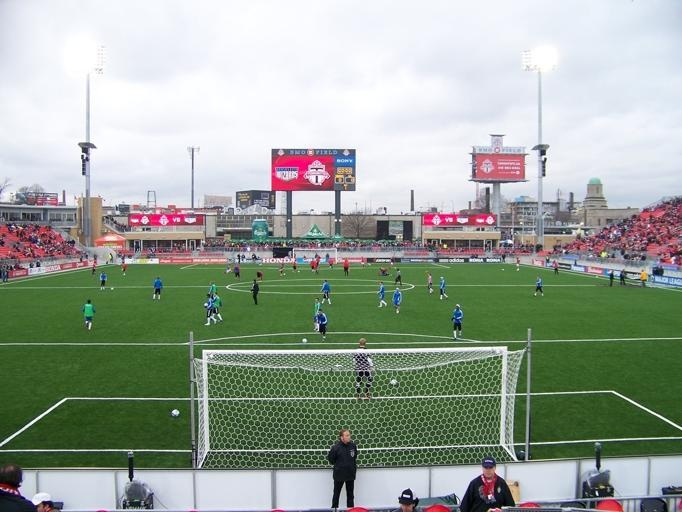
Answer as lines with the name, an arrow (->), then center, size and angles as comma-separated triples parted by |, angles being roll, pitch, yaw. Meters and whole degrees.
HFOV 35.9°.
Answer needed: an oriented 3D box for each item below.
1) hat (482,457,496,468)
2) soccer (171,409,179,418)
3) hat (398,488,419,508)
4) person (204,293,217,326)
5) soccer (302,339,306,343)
hat -> 5.254, 7.280, 37.157 | 0.442, 0.376, 0.516 | 0, 7, 4
soccer -> -6.793, 6.440, 42.996 | 0.242, 0.142, 0.255 | 6, 6, 10
hat -> 2.371, 8.539, 37.003 | 0.612, 0.696, 0.438 | -2, 7, -10
person -> -6.985, 2.756, 56.036 | 0.607, 1.584, 2.178 | -1, 7, -7
soccer -> -1.768, 4.090, 50.824 | 0.234, 0.245, 0.234 | 5, 13, -9
